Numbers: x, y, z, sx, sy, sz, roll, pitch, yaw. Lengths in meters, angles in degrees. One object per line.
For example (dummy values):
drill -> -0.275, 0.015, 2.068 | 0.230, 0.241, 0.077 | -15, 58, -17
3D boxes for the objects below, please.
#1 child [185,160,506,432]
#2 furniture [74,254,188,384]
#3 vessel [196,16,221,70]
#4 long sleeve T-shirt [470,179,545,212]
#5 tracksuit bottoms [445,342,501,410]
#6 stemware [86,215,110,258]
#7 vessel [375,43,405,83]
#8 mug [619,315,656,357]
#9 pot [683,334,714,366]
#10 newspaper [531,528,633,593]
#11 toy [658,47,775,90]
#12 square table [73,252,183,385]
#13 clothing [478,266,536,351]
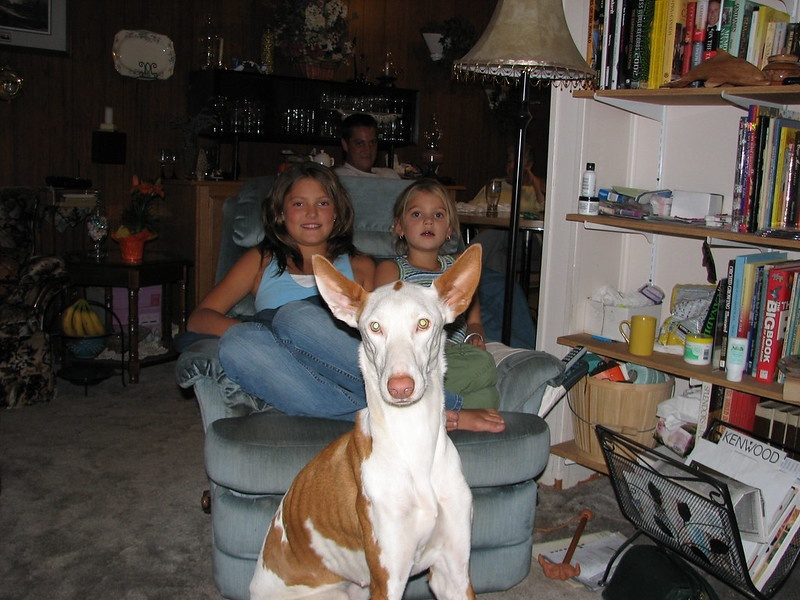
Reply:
child -> -0.402, -0.119, 2.920 | 1.003, 1.067, 1.454 | -4, 16, -29
furniture -> -1.878, 0.143, 4.815 | 0.657, 0.645, 0.647 | 5, 16, -15
vessel -> -1.751, -2.489, 5.845 | 0.207, 0.548, 0.209 | -9, 24, -14
long sleeve T-shirt -> 1.129, -0.983, 5.807 | 0.657, 0.271, 0.655 | 2, 12, 6
tracksuit bottoms -> 0.261, 0.313, 2.654 | 0.304, 0.227, 0.405 | 4, 1, 0
stemware -> -2.311, -0.505, 4.721 | 0.137, 0.330, 0.321 | -5, 15, -25
vessel -> -0.139, -2.498, 6.706 | 0.267, 0.372, 0.269 | -2, 1, -29
mug -> 1.184, 0.181, 3.104 | 0.107, 0.183, 0.176 | -6, 13, -44
pot -> 1.401, 0.231, 2.909 | 0.125, 0.143, 0.127 | 2, 5, 0
newspaper -> 0.821, 1.102, 2.719 | 0.364, 0.340, 0.047 | -41, 14, 27
toy -> 1.357, -1.008, 2.678 | 0.141, 0.187, 0.412 | -16, 27, -40
square table -> -1.912, 0.137, 4.922 | 0.863, 0.846, 0.859 | 2, 8, -30
clothing -> 0.576, 0.054, 3.392 | 0.256, 0.471, 0.149 | -4, -10, -1
